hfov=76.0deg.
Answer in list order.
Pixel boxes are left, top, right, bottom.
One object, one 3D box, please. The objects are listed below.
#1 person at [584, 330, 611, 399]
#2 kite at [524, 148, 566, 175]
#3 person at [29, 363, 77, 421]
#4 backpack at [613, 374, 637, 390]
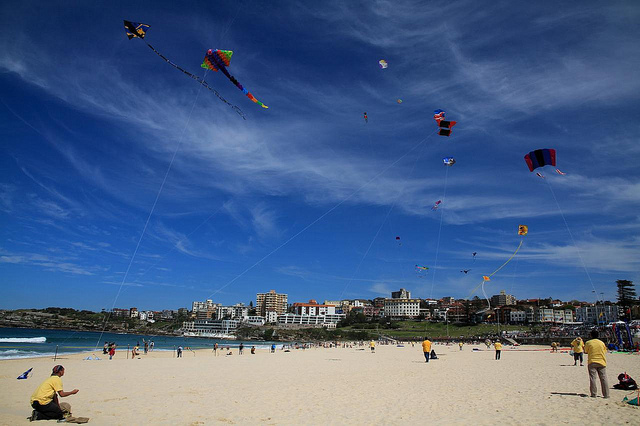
[{"bbox_3d":[8.562,4.657,12.630,0.507,2.027,1.500,-7,-21,30],"label":"person"},{"bbox_3d":[10.215,-2.374,19.365,1.698,0.837,2.010,-12,-15,22],"label":"kite"},{"bbox_3d":[-7.405,4.992,11.406,0.986,1.409,0.344,14,-21,-25],"label":"person"},{"bbox_3d":[10.135,5.613,13.650,0.446,0.184,0.545,8,-7,2],"label":"backpack"}]
